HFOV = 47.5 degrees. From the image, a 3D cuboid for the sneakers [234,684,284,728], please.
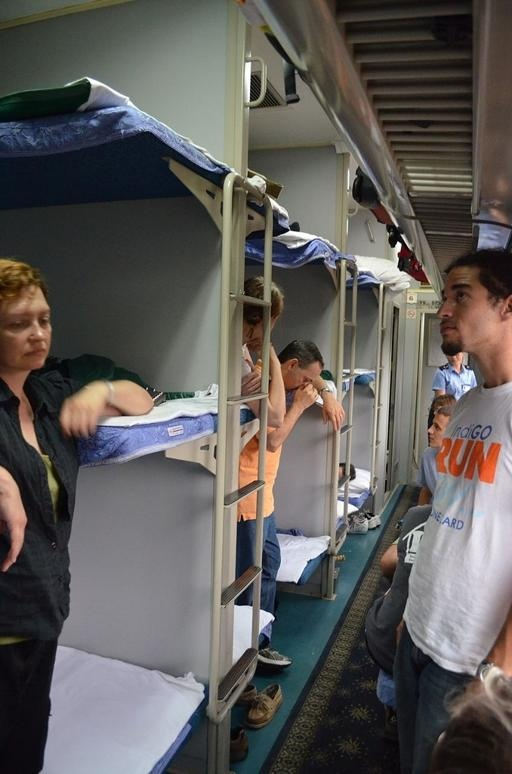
[{"bbox_3d":[0.036,1.754,3.210,0.116,0.091,0.253,-2,-9,16],"label":"sneakers"}]
